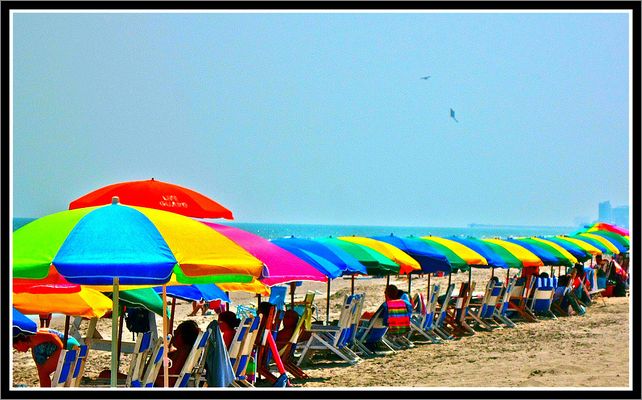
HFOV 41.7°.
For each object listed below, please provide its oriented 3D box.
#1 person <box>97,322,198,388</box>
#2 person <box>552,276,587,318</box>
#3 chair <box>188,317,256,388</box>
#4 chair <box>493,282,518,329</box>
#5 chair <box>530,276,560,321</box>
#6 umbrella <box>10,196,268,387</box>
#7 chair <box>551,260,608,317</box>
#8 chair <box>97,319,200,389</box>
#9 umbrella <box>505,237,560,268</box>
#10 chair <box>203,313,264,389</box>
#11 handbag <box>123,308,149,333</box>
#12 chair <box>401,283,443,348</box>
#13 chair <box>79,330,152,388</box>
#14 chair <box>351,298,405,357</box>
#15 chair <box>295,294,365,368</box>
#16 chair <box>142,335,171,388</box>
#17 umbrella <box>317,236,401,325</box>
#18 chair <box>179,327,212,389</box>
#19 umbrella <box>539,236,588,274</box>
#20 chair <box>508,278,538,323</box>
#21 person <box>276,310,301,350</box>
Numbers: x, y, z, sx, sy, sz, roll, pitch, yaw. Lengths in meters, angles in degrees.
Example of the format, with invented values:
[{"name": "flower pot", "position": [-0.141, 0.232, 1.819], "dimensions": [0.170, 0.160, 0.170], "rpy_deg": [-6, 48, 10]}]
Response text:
[{"name": "person", "position": [-2.324, 2.215, 12.490], "dimensions": [0.784, 1.135, 0.701], "rpy_deg": [8, -10, -14]}, {"name": "person", "position": [6.184, 2.440, 21.089], "dimensions": [0.741, 1.015, 0.355], "rpy_deg": [5, -13, -14]}, {"name": "chair", "position": [-1.493, 2.335, 12.928], "dimensions": [0.929, 1.068, 0.836], "rpy_deg": [1, -6, -21]}, {"name": "chair", "position": [4.269, 2.392, 19.433], "dimensions": [0.800, 1.048, 0.742], "rpy_deg": [0, -4, 20]}, {"name": "chair", "position": [5.389, 2.361, 20.604], "dimensions": [0.713, 0.944, 0.838], "rpy_deg": [4, -4, -17]}, {"name": "umbrella", "position": [-2.638, 0.940, 11.292], "dimensions": [2.310, 1.793, 2.568], "rpy_deg": [-1, -6, 31]}, {"name": "chair", "position": [6.375, 2.333, 21.363], "dimensions": [0.499, 1.430, 1.042], "rpy_deg": [10, 0, 44]}, {"name": "chair", "position": [-2.248, 2.213, 12.378], "dimensions": [0.782, 1.143, 0.712], "rpy_deg": [1, -10, -6]}, {"name": "umbrella", "position": [5.135, 1.222, 19.900], "dimensions": [0.773, 0.293, 0.781], "rpy_deg": [31, 2, -7]}, {"name": "chair", "position": [-1.256, 2.303, 12.700], "dimensions": [0.937, 1.016, 0.804], "rpy_deg": [-3, -6, -20]}, {"name": "handbag", "position": [-3.151, 2.041, 14.361], "dimensions": [0.439, 0.443, 0.119], "rpy_deg": [12, 2, 30]}, {"name": "chair", "position": [2.071, 2.271, 17.382], "dimensions": [0.949, 1.051, 0.772], "rpy_deg": [11, 20, 28]}, {"name": "chair", "position": [-3.044, 2.312, 12.274], "dimensions": [0.866, 0.810, 0.577], "rpy_deg": [6, 2, -8]}, {"name": "chair", "position": [0.937, 2.427, 16.218], "dimensions": [1.161, 1.052, 0.935], "rpy_deg": [10, 3, 28]}, {"name": "chair", "position": [0.139, 2.324, 15.446], "dimensions": [1.067, 1.273, 1.006], "rpy_deg": [3, 0, -7]}, {"name": "chair", "position": [-2.403, 2.330, 12.102], "dimensions": [0.179, 0.720, 0.412], "rpy_deg": [18, 0, 17]}, {"name": "umbrella", "position": [0.804, 1.762, 18.175], "dimensions": [2.302, 1.642, 2.297], "rpy_deg": [7, -4, -6]}, {"name": "chair", "position": [-1.865, 2.306, 12.398], "dimensions": [0.273, 0.769, 0.560], "rpy_deg": [12, -1, -19]}, {"name": "umbrella", "position": [6.298, 1.286, 21.404], "dimensions": [1.172, 0.455, 1.206], "rpy_deg": [3, 1, -2]}, {"name": "chair", "position": [4.644, 2.413, 20.148], "dimensions": [0.831, 1.111, 0.826], "rpy_deg": [-4, -2, -9]}, {"name": "person", "position": [-0.586, 2.189, 14.504], "dimensions": [0.228, 0.830, 0.295], "rpy_deg": [17, -9, -4]}]
